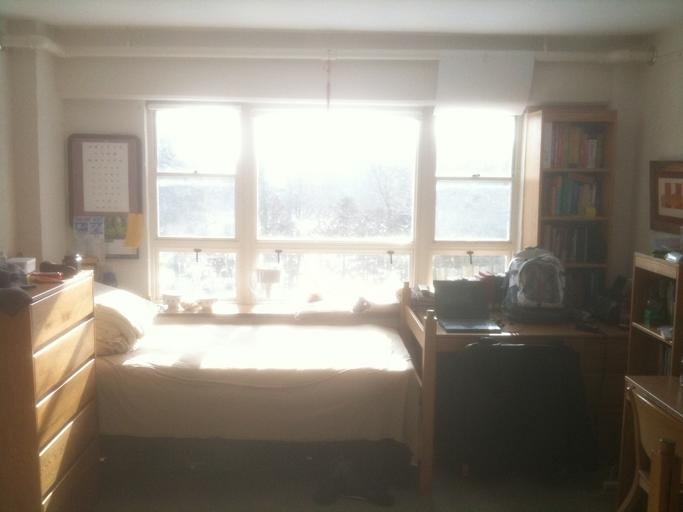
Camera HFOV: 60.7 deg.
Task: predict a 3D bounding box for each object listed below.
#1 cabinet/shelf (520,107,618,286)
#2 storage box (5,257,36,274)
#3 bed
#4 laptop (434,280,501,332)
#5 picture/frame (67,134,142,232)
[{"bbox_3d":[1.844,-0.559,4.776,0.677,1.329,0.401,-1,7,2],"label":"cabinet/shelf"},{"bbox_3d":[-1.998,0.048,3.587,0.209,0.086,0.145,4,13,10],"label":"storage box"},{"bbox_3d":[-0.646,0.840,4.323,2.170,1.334,1.414,-1,8,-4],"label":"bed"},{"bbox_3d":[0.902,0.370,4.298,0.361,0.276,0.368,-2,10,-3],"label":"laptop"},{"bbox_3d":[-1.984,-0.633,4.823,0.773,0.980,0.107,0,5,-4],"label":"picture/frame"}]
